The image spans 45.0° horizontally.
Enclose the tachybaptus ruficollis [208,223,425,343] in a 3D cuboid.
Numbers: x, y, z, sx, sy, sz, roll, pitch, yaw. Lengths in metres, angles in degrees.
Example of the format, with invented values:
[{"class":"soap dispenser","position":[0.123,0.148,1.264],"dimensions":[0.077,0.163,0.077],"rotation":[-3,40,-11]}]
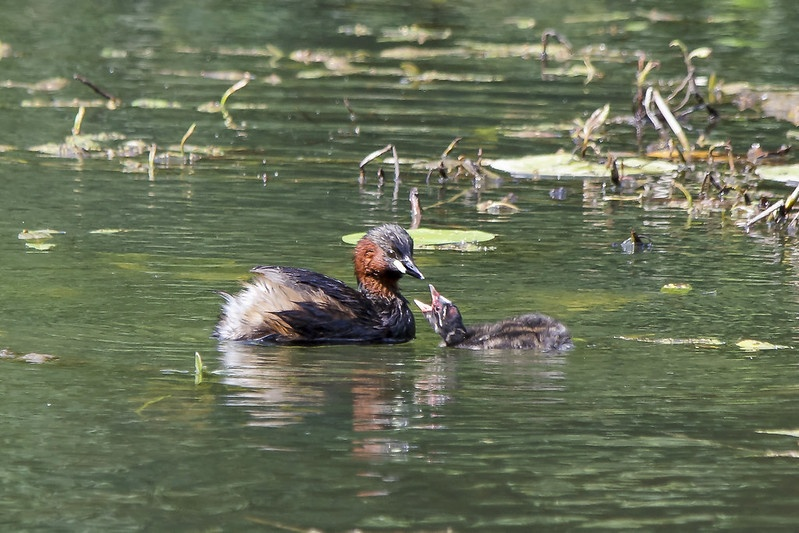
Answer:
[{"class":"tachybaptus ruficollis","position":[-0.684,0.158,8.815],"dimensions":[1.754,1.112,0.616],"rotation":[-2,0,-33]}]

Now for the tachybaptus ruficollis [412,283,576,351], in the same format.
[{"class":"tachybaptus ruficollis","position":[0.845,0.473,8.675],"dimensions":[1.404,0.549,0.393],"rotation":[-1,1,7]}]
